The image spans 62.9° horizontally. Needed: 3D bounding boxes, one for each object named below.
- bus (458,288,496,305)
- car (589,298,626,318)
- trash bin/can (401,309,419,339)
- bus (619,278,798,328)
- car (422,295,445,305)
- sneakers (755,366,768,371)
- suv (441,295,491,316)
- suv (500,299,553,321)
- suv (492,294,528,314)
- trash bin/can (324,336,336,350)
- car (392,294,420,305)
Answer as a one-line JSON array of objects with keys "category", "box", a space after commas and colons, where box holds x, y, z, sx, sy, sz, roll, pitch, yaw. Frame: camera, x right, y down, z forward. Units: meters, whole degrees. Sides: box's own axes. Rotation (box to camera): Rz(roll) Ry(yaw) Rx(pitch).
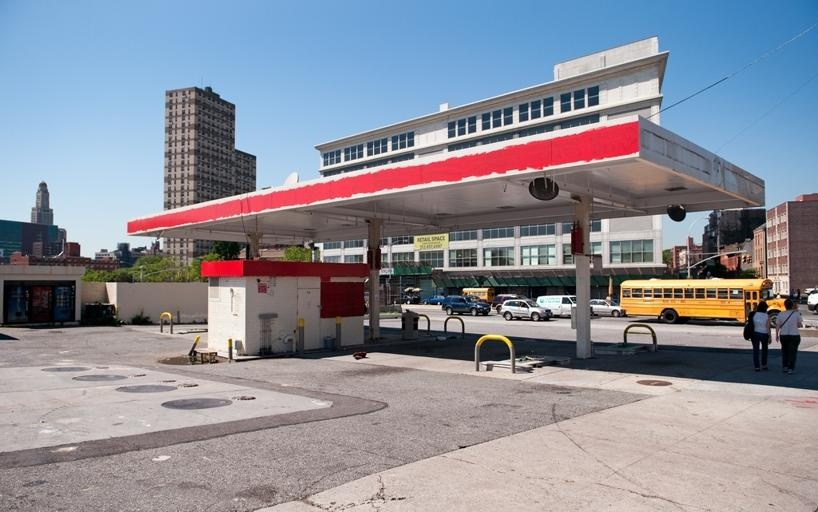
[{"category": "bus", "box": [7.704, 4.236, 74.435, 2.941, 1.622, 1.861, -4, -5, 33]}, {"category": "car", "box": [16.543, 4.373, 56.276, 2.367, 0.967, 1.267, -4, -5, 26]}, {"category": "trash bin/can", "box": [0.039, 3.470, 33.960, 0.734, 1.327, 0.913, -1, -6, 7]}, {"category": "bus", "box": [20.075, 2.924, 45.443, 10.559, 2.869, 2.945, -2, -1, 41]}, {"category": "car", "box": [2.758, 5.252, 78.718, 2.808, 1.118, 1.522, 2, -2, 30]}, {"category": "sneakers", "box": [12.399, 3.940, 23.499, 0.189, 0.220, 0.565, -13, -17, 43]}, {"category": "suv", "box": [5.046, 4.367, 59.524, 3.523, 1.722, 3.268, 0, -6, -6]}, {"category": "suv", "box": [9.232, 4.242, 52.413, 3.226, 1.159, 1.529, -5, -5, 36]}, {"category": "suv", "box": [9.196, 4.110, 61.589, 3.221, 1.205, 1.631, -5, -7, 25]}, {"category": "trash bin/can", "box": [-3.485, 3.808, 29.532, 0.527, 0.568, 0.712, -4, -6, 29]}, {"category": "car", "box": [-0.330, 5.654, 87.892, 2.689, 0.873, 1.483, -4, -5, 34]}]
